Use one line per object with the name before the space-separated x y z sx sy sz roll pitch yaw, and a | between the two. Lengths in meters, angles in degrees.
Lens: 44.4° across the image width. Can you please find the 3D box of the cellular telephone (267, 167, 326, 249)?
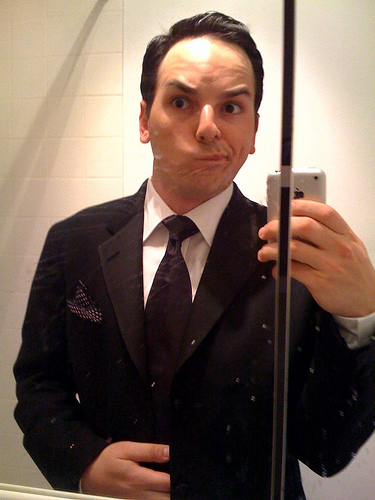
cellular telephone | 0.231 -0.097 0.985 0.159 0.254 0.032 0 5 -2

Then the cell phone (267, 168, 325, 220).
cell phone | 0.226 -0.118 0.981 0.102 0.184 0.019 1 0 -4
